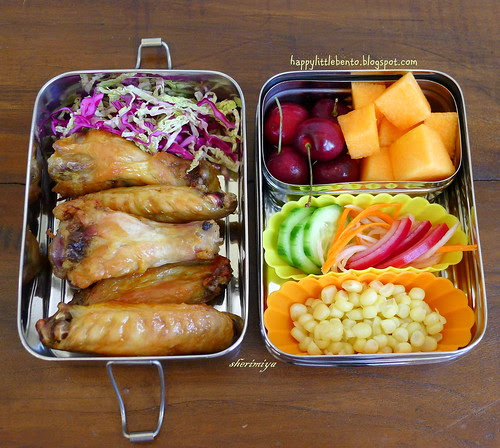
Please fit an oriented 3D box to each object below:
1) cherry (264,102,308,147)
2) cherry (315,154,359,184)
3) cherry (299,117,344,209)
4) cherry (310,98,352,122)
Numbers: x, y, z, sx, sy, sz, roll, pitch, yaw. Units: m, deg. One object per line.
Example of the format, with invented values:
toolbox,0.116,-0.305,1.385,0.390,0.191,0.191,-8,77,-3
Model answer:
cherry,0.124,-0.357,1.966,0.153,0.147,0.144,-9,76,31
cherry,0.305,-0.187,1.867,0.122,0.118,0.041,-8,67,11
cherry,0.249,-0.211,1.850,0.174,0.132,0.280,-3,92,8
cherry,0.288,-0.413,1.938,0.105,0.135,0.099,-23,87,3
